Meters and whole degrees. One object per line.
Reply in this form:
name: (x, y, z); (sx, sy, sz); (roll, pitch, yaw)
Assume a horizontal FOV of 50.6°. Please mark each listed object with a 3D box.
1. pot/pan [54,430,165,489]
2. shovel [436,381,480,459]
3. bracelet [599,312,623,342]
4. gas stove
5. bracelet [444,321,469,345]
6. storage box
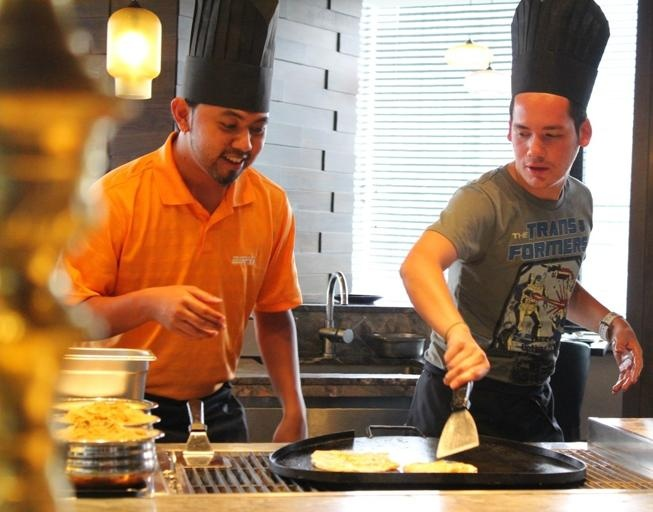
pot/pan: (-0.349, 0.340, 1.130); (0.159, 0.066, 0.166); (-16, -19, 41)
shovel: (0.271, 0.331, 1.408); (0.078, 0.151, 0.053); (4, -4, 8)
bracelet: (0.859, 0.211, 2.086); (0.076, 0.064, 0.048); (-27, 47, -37)
gas stove: (0.154, 0.417, 1.343); (0.920, 0.031, 0.363); (4, -4, -9)
bracelet: (0.283, 0.160, 1.460); (0.044, 0.018, 0.051); (7, 40, -3)
storage box: (-0.421, 0.230, 1.348); (0.156, 0.068, 0.267); (5, -4, -13)
